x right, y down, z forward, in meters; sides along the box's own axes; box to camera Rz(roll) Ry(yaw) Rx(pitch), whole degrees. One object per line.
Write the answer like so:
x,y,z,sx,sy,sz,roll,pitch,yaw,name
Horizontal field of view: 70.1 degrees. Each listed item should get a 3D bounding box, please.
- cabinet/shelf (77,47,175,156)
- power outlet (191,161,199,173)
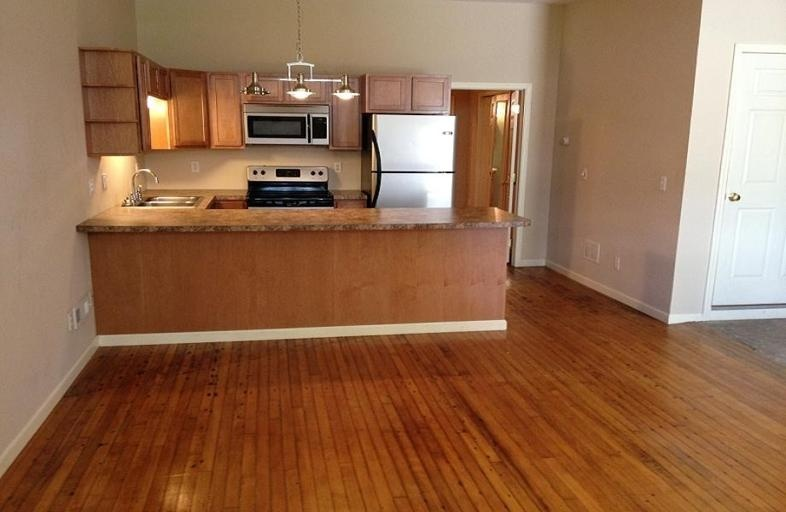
-2.599,-1.525,5.799,0.452,0.919,1.508,0,11,-4,cabinet/shelf
-2.496,-1.127,7.088,0.097,0.144,0.024,-2,16,-3,power outlet
